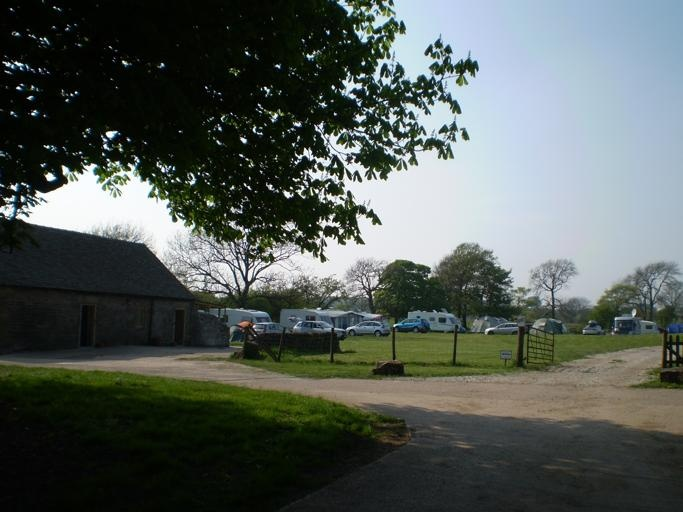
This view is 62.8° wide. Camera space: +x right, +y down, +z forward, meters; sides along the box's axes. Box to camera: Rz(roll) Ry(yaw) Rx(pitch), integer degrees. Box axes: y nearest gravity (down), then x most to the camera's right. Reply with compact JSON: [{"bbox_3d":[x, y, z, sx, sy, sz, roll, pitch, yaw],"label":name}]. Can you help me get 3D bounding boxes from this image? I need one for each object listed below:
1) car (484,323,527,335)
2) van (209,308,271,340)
[{"bbox_3d":[16.447,7.350,56.327,2.689,1.317,4.260,2,-10,-5],"label":"car"},{"bbox_3d":[-8.190,5.676,43.940,3.965,2.360,2.624,-1,-1,24],"label":"van"}]
